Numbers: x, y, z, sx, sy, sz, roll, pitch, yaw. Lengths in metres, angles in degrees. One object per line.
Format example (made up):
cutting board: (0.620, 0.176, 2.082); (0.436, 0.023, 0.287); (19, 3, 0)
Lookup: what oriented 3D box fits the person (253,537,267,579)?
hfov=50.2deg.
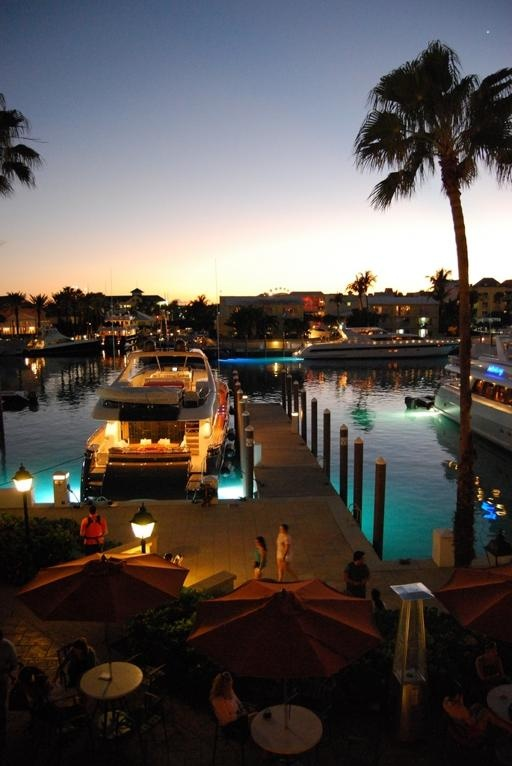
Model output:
person: (0.056, 2.893, 9.132); (0.170, 0.786, 0.471); (-3, 7, -2)

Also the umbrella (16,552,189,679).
umbrella: (-1.648, 2.490, 5.968); (1.743, 1.276, 1.755); (2, -2, -27)

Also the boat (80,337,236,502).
boat: (-3.733, 0.815, 18.865); (3.545, 2.974, 8.736); (1, 16, -11)

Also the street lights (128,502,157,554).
street lights: (-1.628, 2.189, 7.847); (0.463, 0.978, 0.478); (0, 0, -9)

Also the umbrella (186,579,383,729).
umbrella: (0.232, 2.055, 4.990); (1.662, 0.588, 1.666); (0, -4, -11)

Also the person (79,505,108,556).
person: (-2.775, 2.518, 9.287); (0.406, 0.942, 0.826); (-6, 7, -19)
